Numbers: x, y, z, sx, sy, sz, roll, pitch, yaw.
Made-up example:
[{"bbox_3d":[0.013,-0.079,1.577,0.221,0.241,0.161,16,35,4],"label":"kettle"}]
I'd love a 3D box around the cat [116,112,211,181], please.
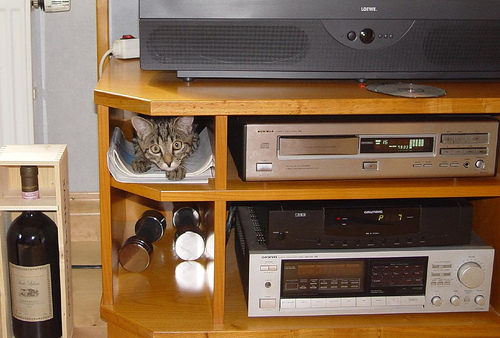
[{"bbox_3d":[-0.271,-0.117,1.636,0.261,0.180,0.362,-4,23,-16],"label":"cat"}]

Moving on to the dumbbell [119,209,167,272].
[{"bbox_3d":[-0.375,0.249,1.827,0.101,0.194,0.299,3,0,2],"label":"dumbbell"}]

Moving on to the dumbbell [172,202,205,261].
[{"bbox_3d":[-0.223,0.225,1.854,0.109,0.194,0.254,2,0,-9],"label":"dumbbell"}]
